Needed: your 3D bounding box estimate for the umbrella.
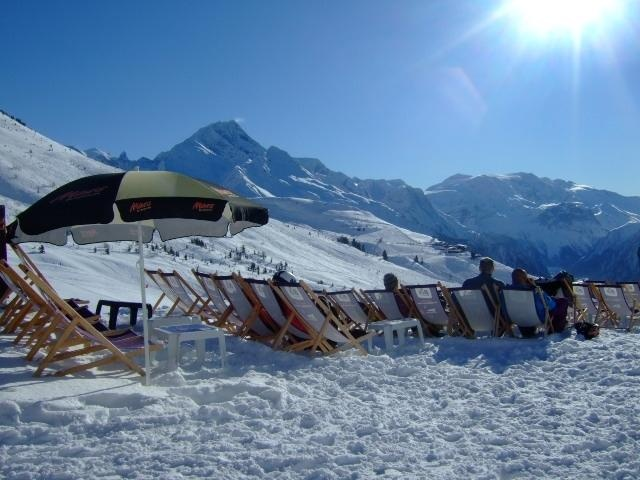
[{"bbox_3d":[-2.591,0.630,7.980,3.724,3.091,4.685,-6,-16,-7],"label":"umbrella"}]
